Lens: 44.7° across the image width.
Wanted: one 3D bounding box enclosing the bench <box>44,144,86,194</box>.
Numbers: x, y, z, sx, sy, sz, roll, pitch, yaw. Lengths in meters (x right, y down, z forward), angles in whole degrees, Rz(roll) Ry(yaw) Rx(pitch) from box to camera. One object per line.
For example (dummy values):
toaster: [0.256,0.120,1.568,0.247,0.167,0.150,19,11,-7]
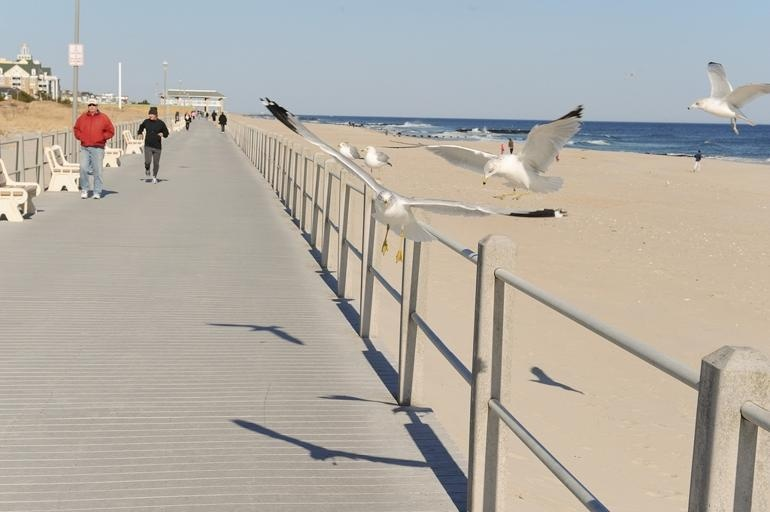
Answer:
bench: [-7.827,-2.020,22.698,1.267,0.912,1.859,-1,15,-15]
